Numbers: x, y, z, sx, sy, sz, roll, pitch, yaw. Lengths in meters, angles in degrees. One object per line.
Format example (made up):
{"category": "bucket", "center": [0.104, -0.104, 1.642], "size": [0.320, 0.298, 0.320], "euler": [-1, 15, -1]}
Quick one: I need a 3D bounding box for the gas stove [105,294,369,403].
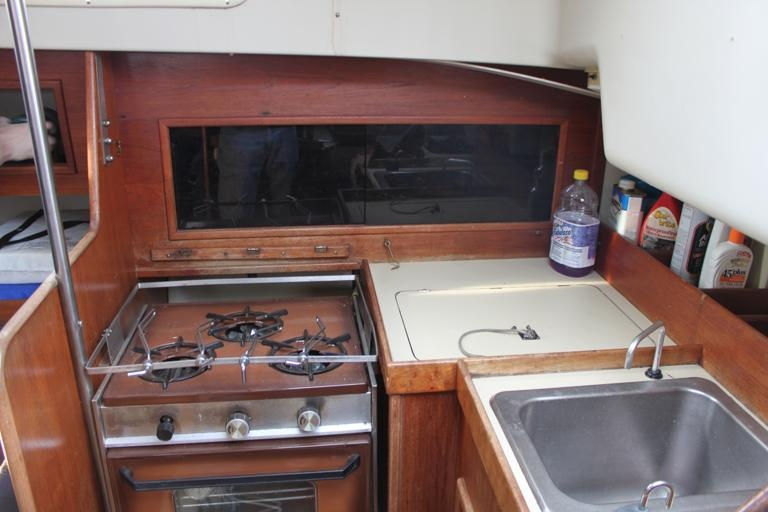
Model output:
{"category": "gas stove", "center": [-0.449, 0.268, 1.913], "size": [0.816, 0.162, 0.488], "euler": [-3, 23, -4]}

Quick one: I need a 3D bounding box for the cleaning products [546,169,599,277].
{"category": "cleaning products", "center": [0.697, -0.116, 2.136], "size": [0.253, 0.369, 0.236], "euler": [5, 12, 5]}

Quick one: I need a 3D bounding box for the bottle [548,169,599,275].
{"category": "bottle", "center": [0.711, -0.139, 2.120], "size": [0.163, 0.375, 0.273], "euler": [6, 25, 17]}

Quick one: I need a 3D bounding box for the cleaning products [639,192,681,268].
{"category": "cleaning products", "center": [0.921, -0.094, 1.936], "size": [0.110, 0.234, 0.124], "euler": [8, 26, 19]}
